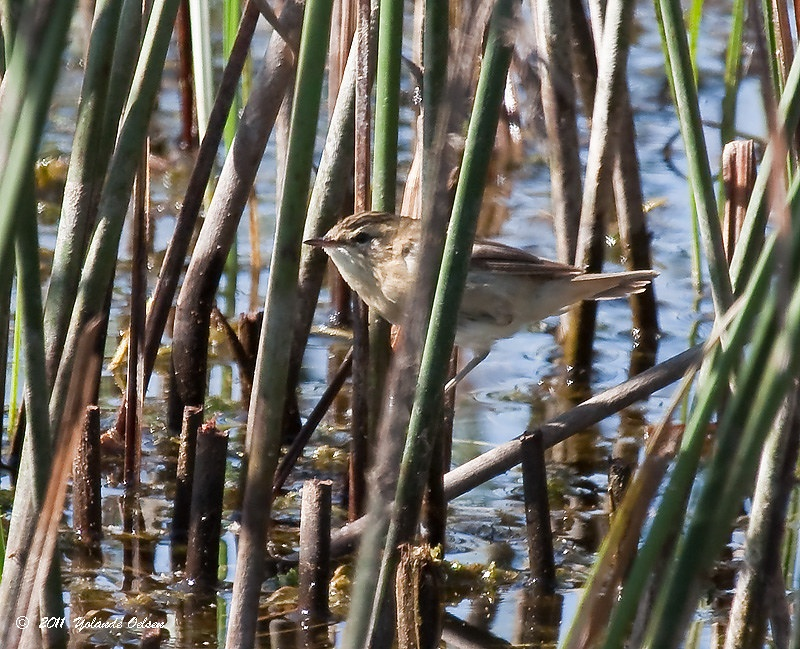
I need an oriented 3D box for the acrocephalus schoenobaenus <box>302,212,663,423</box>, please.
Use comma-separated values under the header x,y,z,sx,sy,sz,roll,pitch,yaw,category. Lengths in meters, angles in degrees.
x,y,z,sx,sy,sz,roll,pitch,yaw,category
0.230,-0.062,3.859,0.756,0.609,1.056,-3,-10,42,acrocephalus schoenobaenus
